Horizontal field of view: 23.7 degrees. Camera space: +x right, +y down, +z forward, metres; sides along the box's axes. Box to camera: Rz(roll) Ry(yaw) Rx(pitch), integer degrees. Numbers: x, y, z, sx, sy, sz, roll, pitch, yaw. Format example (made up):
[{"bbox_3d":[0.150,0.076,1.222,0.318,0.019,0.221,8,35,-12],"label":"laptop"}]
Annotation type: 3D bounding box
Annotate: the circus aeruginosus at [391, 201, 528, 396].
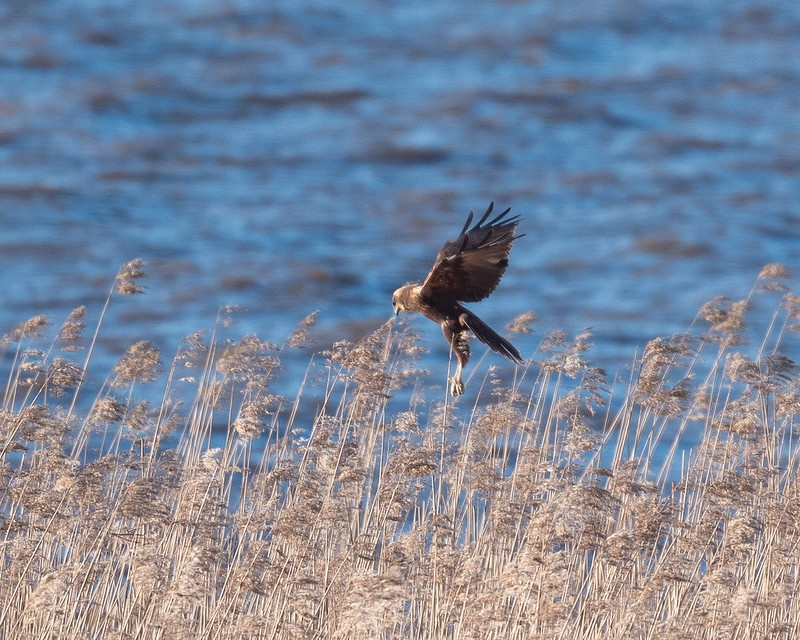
[{"bbox_3d":[0.702,-0.072,27.508,2.116,2.370,3.047,1,-13,-11],"label":"circus aeruginosus"}]
